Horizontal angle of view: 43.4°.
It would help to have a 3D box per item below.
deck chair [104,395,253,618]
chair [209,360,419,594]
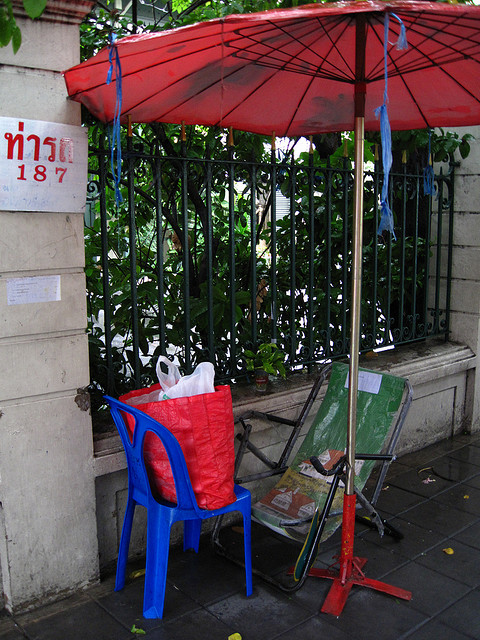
[{"bbox_3d":[-0.227,0.738,2.552,0.545,0.833,0.525,-4,6,-35],"label":"deck chair"},{"bbox_3d":[0.341,0.744,2.981,0.938,0.814,0.681,-9,13,-36],"label":"chair"}]
